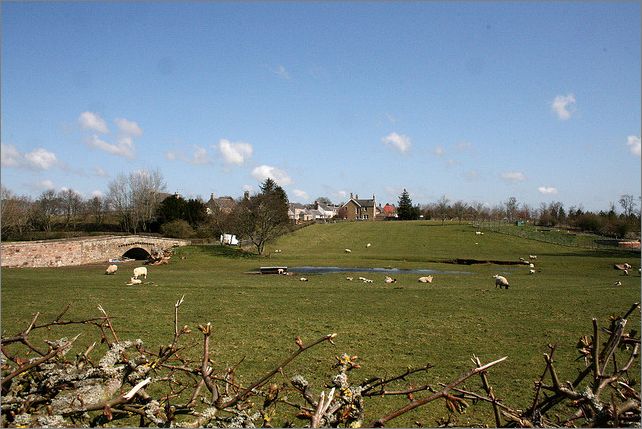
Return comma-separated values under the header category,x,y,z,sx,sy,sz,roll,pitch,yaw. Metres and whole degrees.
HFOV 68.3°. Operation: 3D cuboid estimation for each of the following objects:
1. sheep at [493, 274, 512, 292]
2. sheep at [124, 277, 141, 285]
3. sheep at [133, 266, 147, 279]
category,x,y,z,sx,sy,sz,roll,pitch,yaw
sheep,12.060,4.492,31.567,0.796,0.736,1.512,3,-2,17
sheep,-12.060,4.316,30.684,0.949,0.643,0.496,4,-8,19
sheep,-13.122,4.264,34.530,0.781,1.084,1.592,4,0,-21
